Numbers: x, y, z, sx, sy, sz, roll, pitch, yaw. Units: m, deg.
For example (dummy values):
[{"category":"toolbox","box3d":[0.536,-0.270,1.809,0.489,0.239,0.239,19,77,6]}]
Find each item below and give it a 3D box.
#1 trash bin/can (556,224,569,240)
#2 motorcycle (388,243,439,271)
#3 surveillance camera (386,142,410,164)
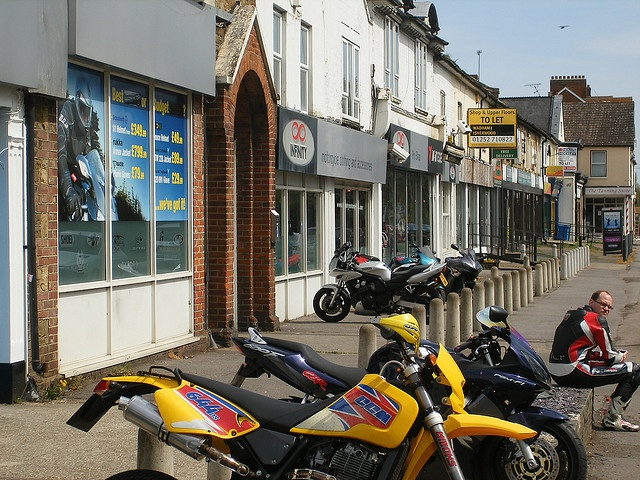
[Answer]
[{"category":"trash bin/can","box3d":[15.995,-0.491,50.495,0.854,1.028,1.323,1,-6,13]},{"category":"motorcycle","box3d":[1.816,0.519,15.144,0.990,0.704,0.571,-9,8,17]},{"category":"surveillance camera","box3d":[2.082,-2.346,20.500,0.471,0.144,0.487,31,-4,-28]}]
